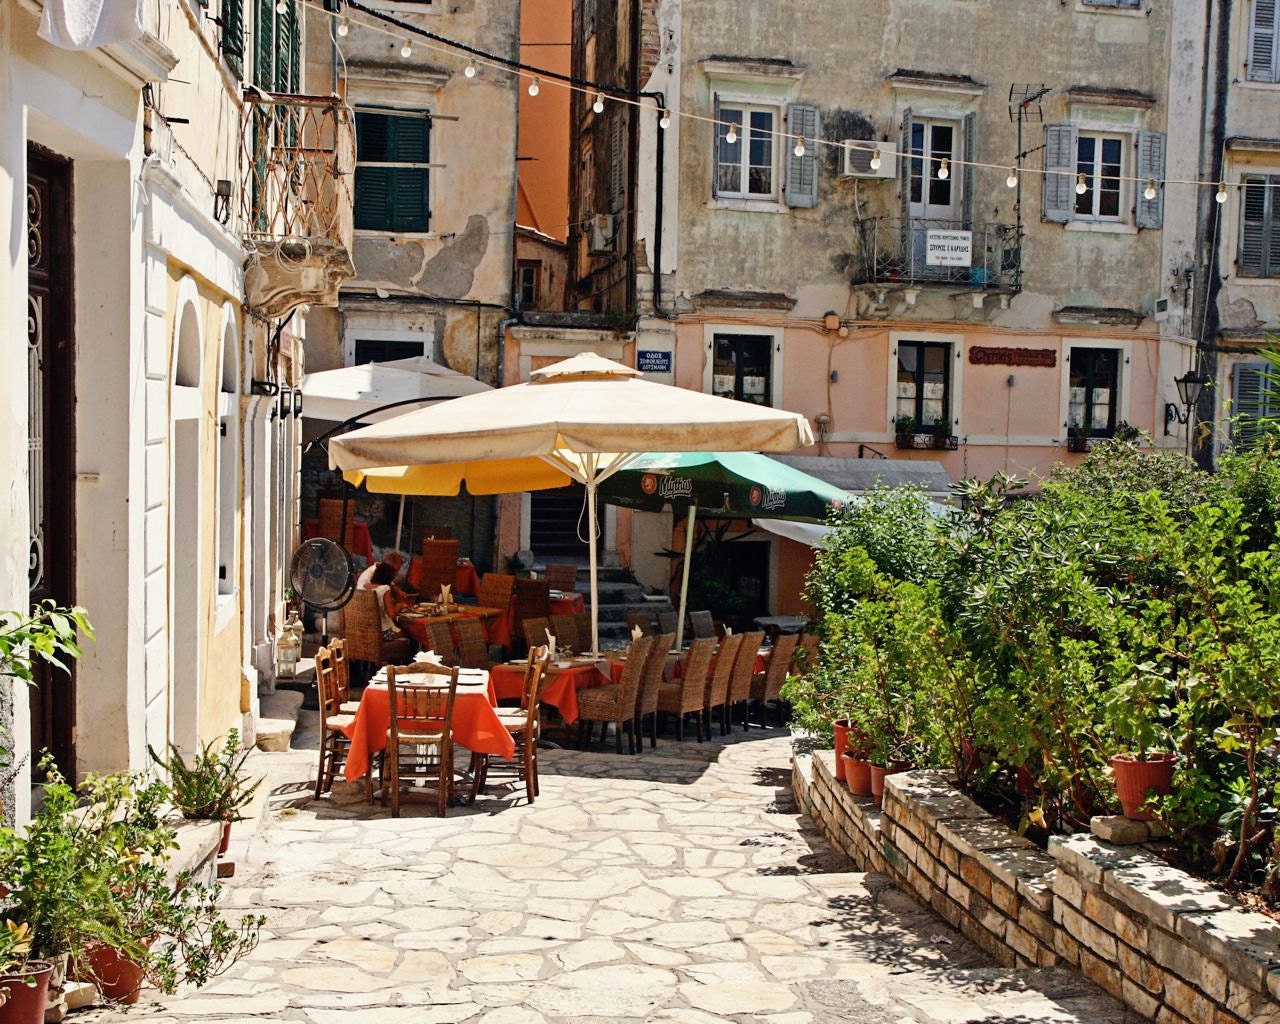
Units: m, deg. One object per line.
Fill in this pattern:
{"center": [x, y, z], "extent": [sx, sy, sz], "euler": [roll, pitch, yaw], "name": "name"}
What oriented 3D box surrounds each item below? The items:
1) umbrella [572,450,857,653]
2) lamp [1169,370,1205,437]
{"center": [0.878, 0.169, 15.198], "extent": [1.839, 1.444, 2.000], "euler": [0, -4, 26], "name": "umbrella"}
{"center": [7.741, -1.594, 22.600], "extent": [0.423, 0.868, 1.775], "euler": [2, 4, 19], "name": "lamp"}
